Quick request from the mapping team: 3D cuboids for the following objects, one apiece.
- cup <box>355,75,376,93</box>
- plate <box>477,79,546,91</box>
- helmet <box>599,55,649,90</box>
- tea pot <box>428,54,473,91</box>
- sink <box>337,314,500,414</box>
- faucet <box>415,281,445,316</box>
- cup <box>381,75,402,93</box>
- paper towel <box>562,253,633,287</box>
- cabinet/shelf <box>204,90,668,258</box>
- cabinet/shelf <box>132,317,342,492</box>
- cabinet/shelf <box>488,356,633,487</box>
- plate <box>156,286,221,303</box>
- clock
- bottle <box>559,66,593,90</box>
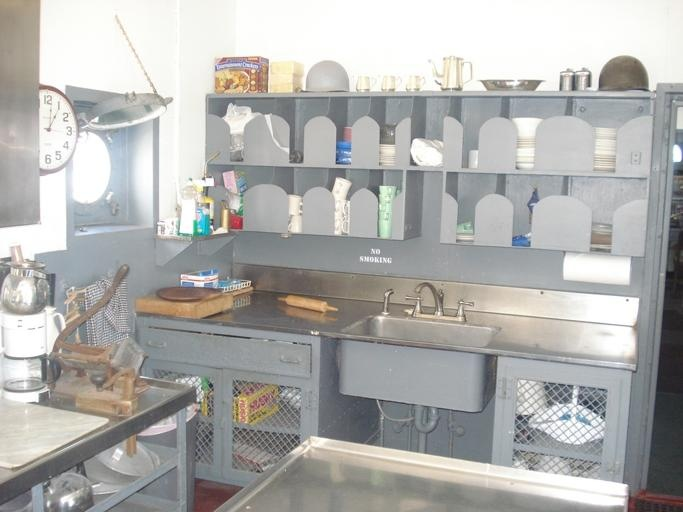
[{"bbox_3d":[0.120,-0.939,3.238,0.136,0.114,0.084,0,3,0],"label":"cup"},{"bbox_3d":[0.850,-0.854,2.931,0.277,0.060,0.070,3,7,21],"label":"plate"},{"bbox_3d":[1.365,-0.869,2.824,0.200,0.150,0.200,0,0,28],"label":"helmet"},{"bbox_3d":[0.584,-0.962,3.113,0.239,0.168,0.132,-4,14,-11],"label":"tea pot"},{"bbox_3d":[0.479,0.639,2.940,0.397,0.220,0.575,-24,-28,39],"label":"sink"},{"bbox_3d":[0.493,0.223,3.252,0.151,0.182,0.288,1,7,10],"label":"faucet"},{"bbox_3d":[0.262,-0.938,3.231,0.136,0.102,0.084,1,1,-6],"label":"cup"},{"bbox_3d":[1.330,0.064,2.984,0.166,0.154,0.348,-21,15,-39],"label":"paper towel"},{"bbox_3d":[0.438,-0.468,3.346,2.437,0.801,0.313,1,4,7],"label":"cabinet/shelf"},{"bbox_3d":[-0.557,0.761,3.158,1.057,0.858,0.406,2,6,22],"label":"cabinet/shelf"},{"bbox_3d":[1.064,0.759,2.639,0.242,0.575,0.589,-1,-4,-35],"label":"cabinet/shelf"},{"bbox_3d":[-0.839,0.201,3.153,0.326,0.050,0.258,0,7,-4],"label":"plate"},{"bbox_3d":[-1.217,-0.531,2.493,0.036,0.366,0.165,6,9,40],"label":"clock"},{"bbox_3d":[1.192,-0.871,2.967,0.163,0.148,0.113,3,11,23],"label":"bottle"}]
